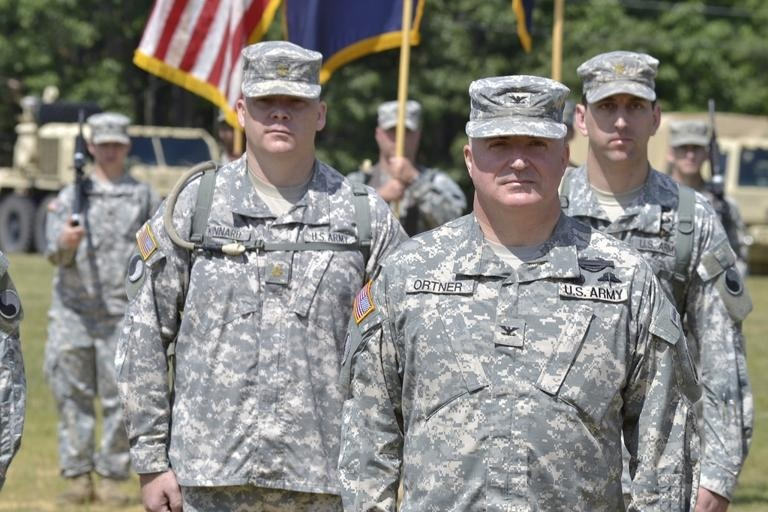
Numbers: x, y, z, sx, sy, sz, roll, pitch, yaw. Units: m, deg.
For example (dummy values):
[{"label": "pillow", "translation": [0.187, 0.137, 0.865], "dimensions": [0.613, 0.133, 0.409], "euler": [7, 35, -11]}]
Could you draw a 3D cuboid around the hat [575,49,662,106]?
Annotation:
[{"label": "hat", "translation": [1.763, -1.355, 13.766], "dimensions": [0.603, 0.385, 0.308], "euler": [-2, 18, 5]}]

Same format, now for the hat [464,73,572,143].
[{"label": "hat", "translation": [0.916, -1.032, 12.645], "dimensions": [0.715, 0.431, 0.297], "euler": [-2, 18, 3]}]

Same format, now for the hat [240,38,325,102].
[{"label": "hat", "translation": [-0.771, -1.362, 13.452], "dimensions": [0.562, 0.371, 0.277], "euler": [-3, 18, 2]}]
